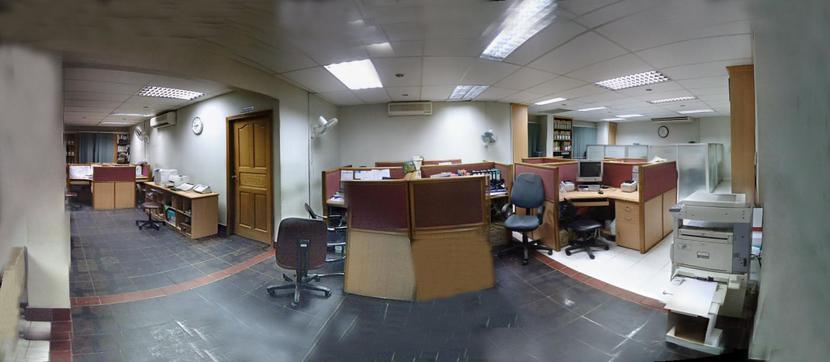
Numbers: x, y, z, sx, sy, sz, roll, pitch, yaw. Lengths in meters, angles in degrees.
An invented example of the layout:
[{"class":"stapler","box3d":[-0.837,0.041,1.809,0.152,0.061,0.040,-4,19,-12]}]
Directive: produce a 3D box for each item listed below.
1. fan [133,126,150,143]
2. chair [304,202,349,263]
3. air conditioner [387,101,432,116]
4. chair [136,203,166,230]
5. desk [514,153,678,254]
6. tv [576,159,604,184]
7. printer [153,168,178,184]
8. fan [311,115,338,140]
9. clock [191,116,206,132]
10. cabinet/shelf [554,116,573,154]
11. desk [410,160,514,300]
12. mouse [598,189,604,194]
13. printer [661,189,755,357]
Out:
[{"class":"fan","box3d":[-1.836,-0.319,2.853,0.104,0.117,0.016,0,6,14]},{"class":"chair","box3d":[-0.481,0.350,2.734,0.371,0.356,0.313,-1,-1,-4]},{"class":"air conditioner","box3d":[-0.019,-0.587,3.419,0.437,0.120,0.113,-3,6,-27]},{"class":"chair","box3d":[-1.730,0.238,2.796,0.222,0.155,0.205,-4,12,-31]},{"class":"desk","box3d":[1.903,0.185,3.832,1.144,0.568,1.141,8,14,44]},{"class":"tv","box3d":[2.147,-0.119,5.204,0.406,0.292,0.200,0,0,0]},{"class":"printer","box3d":[-1.617,-0.036,2.743,0.138,0.081,0.129,2,1,30]},{"class":"fan","box3d":[-0.776,-0.465,3.477,0.311,0.110,0.097,-15,8,46]},{"class":"clock","box3d":[-1.434,-0.372,2.798,0.115,0.085,0.024,-4,8,-3]},{"class":"cabinet/shelf","box3d":[3.185,-1.007,9.097,0.168,0.729,0.667,3,7,43]},{"class":"desk","box3d":[0.137,0.327,2.974,1.119,0.858,0.726,2,-5,-10]},{"class":"mouse","box3d":[2.085,0.116,4.752,0.055,0.017,0.066,0,11,4]},{"class":"printer","box3d":[1.977,0.592,2.855,0.497,0.976,0.740,2,7,36]}]
